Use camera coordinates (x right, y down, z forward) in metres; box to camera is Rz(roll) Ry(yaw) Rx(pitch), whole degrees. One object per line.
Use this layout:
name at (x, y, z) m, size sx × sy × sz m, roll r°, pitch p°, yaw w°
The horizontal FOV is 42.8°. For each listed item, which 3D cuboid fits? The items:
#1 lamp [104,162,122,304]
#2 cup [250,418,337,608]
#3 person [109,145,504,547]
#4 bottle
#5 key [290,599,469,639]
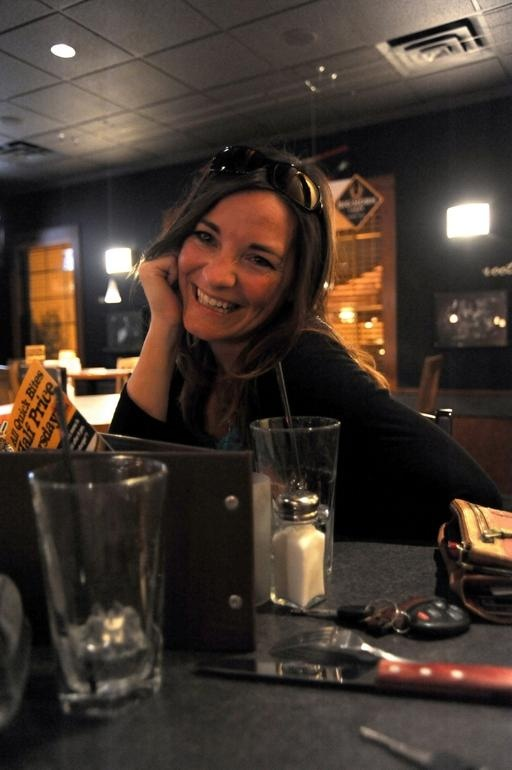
lamp at (-1.555, -1.568, 7.029) m, size 0.133 × 1.864 × 0.132 m, roll 0°, pitch 5°, yaw -11°
cup at (0.037, 0.129, 0.696) m, size 0.070 × 0.192 × 0.084 m, roll 6°, pitch 1°, yaw -8°
person at (0.039, -0.035, 1.308) m, size 0.628 × 0.807 × 0.610 m, roll 0°, pitch 4°, yaw -14°
bottle at (0.043, 0.174, 0.709) m, size 0.069 × 0.106 × 0.066 m, roll -1°, pitch 1°, yaw 0°
key at (0.121, 0.193, 0.601) m, size 0.105 × 0.025 × 0.091 m, roll 1°, pitch 1°, yaw 38°
